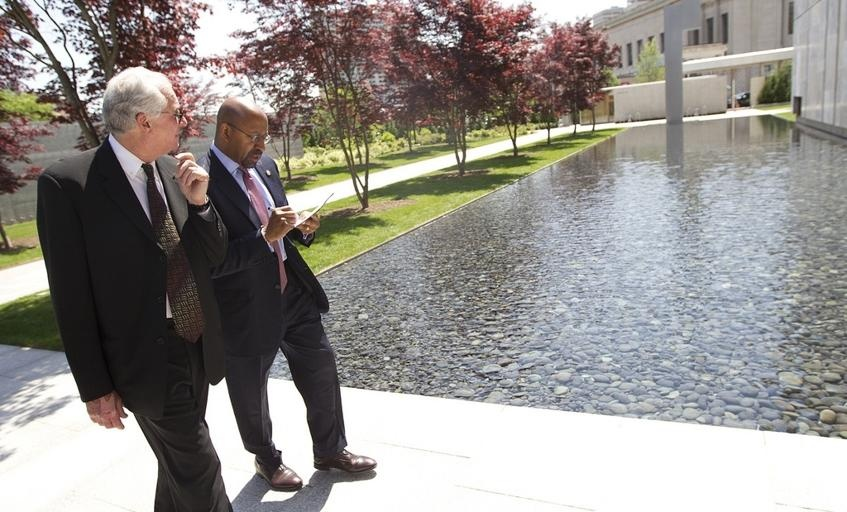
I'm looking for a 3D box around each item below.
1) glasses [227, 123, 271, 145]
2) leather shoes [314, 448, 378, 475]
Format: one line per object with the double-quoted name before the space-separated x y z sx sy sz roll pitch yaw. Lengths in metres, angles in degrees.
"glasses" -1.427 -1.007 4.413 0.251 0.177 0.087 -17 20 -29
"leather shoes" -0.681 1.799 4.760 0.608 0.244 0.206 0 3 1
